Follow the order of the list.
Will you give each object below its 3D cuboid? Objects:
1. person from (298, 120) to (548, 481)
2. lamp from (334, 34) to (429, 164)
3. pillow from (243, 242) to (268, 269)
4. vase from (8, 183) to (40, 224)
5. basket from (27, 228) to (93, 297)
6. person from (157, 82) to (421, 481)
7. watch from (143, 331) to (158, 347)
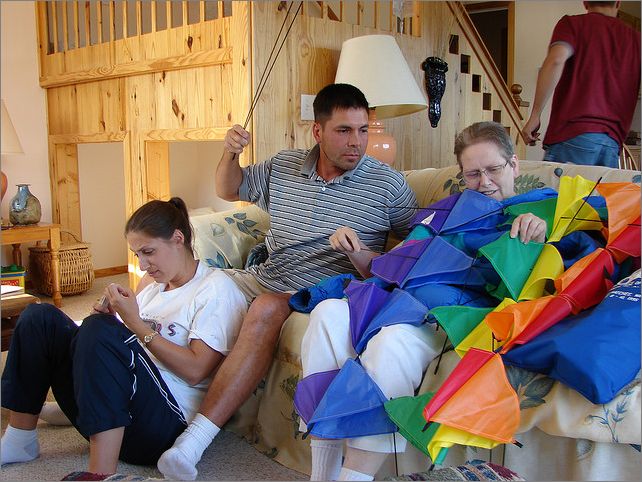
[{"bbox_3d":[0.295,0.168,1.855,0.825,1.138,0.530,-4,4,-22],"label":"person"},{"bbox_3d":[0.283,-0.807,3.199,0.597,0.797,0.633,-5,14,-11],"label":"lamp"},{"bbox_3d":[-0.297,0.068,2.519,0.089,0.120,0.118,9,-12,-40],"label":"pillow"},{"bbox_3d":[-1.985,-0.241,3.662,0.224,0.373,0.242,0,3,-32],"label":"vase"},{"bbox_3d":[-1.987,0.157,4.003,0.369,0.557,0.508,-1,1,0],"label":"basket"},{"bbox_3d":[-0.248,0.032,2.195,0.861,0.979,1.403,18,34,28],"label":"person"},{"bbox_3d":[-0.570,0.325,1.823,0.028,0.049,0.047,25,43,31],"label":"watch"}]
